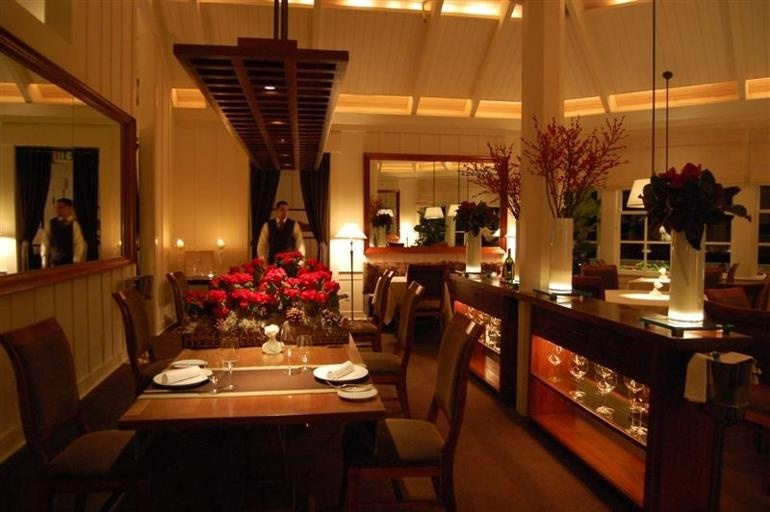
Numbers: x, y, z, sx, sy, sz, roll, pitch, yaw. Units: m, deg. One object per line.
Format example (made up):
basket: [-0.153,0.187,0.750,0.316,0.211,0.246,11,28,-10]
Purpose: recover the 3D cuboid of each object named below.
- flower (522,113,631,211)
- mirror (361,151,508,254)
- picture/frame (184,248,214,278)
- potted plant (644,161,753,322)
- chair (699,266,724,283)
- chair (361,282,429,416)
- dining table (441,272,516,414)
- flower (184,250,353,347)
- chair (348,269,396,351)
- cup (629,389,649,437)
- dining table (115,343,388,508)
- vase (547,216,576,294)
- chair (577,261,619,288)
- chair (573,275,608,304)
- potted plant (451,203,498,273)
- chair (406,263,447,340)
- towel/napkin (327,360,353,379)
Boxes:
flower: [1.738,-0.842,5.947,0.814,0.911,0.819,-2,19,9]
mirror: [0.993,-0.919,10.634,2.905,2.057,0.031,0,2,-12]
picture/frame: [-3.243,0.123,10.253,0.469,0.474,0.159,0,1,-8]
potted plant: [2.320,-0.103,4.535,0.671,1.208,0.302,0,4,24]
chair: [4.094,0.237,7.463,0.227,0.315,0.251,1,4,15]
chair: [-0.082,0.949,6.075,0.842,1.236,0.815,4,1,-30]
dining table: [1.238,0.871,7.100,0.479,1.112,1.410,5,5,-18]
flower: [-1.108,0.465,5.495,1.427,0.642,2.015,-3,4,-15]
chair: [-0.274,0.704,6.820,0.643,1.163,0.624,5,3,-4]
cup: [2.127,1.323,4.988,0.200,0.470,0.188,-1,0,0]
dining table: [-1.021,1.003,4.253,1.184,0.450,1.792,0,2,-11]
vase: [1.686,-0.010,5.718,0.211,0.716,0.240,-1,4,12]
chair: [2.840,0.248,7.982,0.319,0.475,0.367,-1,-4,2]
chair: [2.133,0.345,6.193,0.313,0.246,0.327,0,-4,8]
potted plant: [1.144,-0.246,7.496,0.501,0.899,0.476,0,4,23]
chair: [0.602,0.658,9.121,0.643,1.166,0.723,-2,8,-12]
towel/napkin: [-0.344,0.860,4.513,0.095,0.066,0.166,10,12,38]
